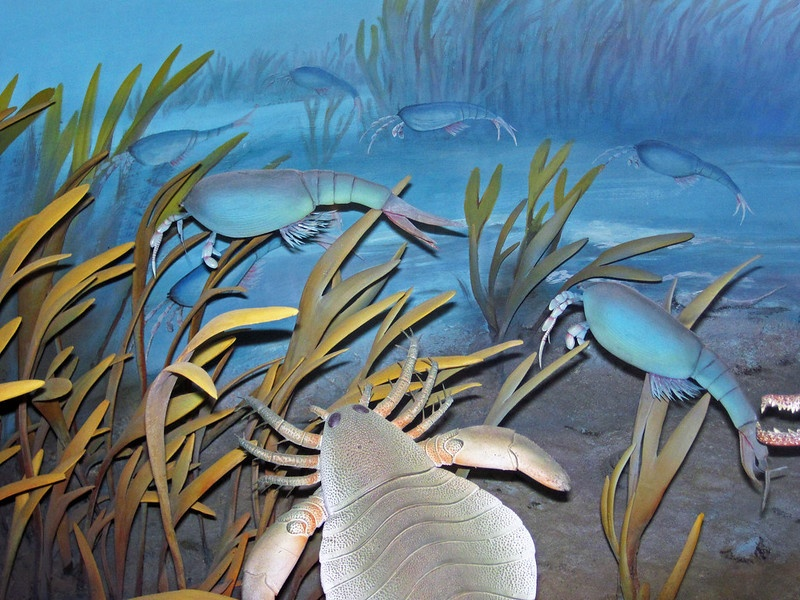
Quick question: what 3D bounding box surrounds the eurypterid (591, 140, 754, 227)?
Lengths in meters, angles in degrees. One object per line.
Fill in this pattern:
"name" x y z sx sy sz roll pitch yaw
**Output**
"eurypterid" 0.519 -0.238 1.392 0.292 0.081 0.070 27 13 22
